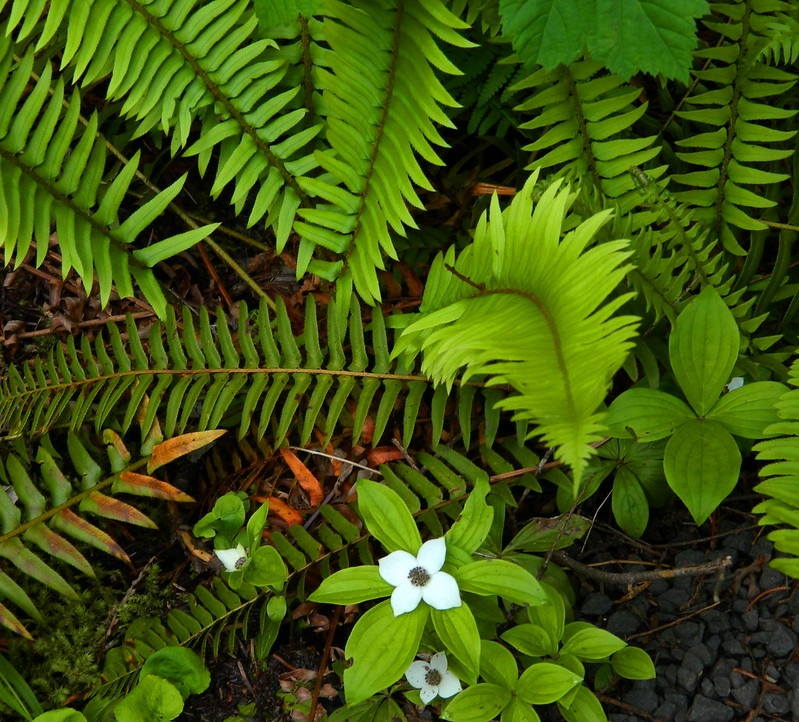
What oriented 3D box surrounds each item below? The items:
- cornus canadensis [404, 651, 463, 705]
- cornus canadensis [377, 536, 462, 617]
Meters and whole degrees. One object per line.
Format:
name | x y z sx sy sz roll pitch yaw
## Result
cornus canadensis | 0.087 0.816 2.054 0.152 0.055 0.135 15 77 2
cornus canadensis | 0.046 0.525 1.876 0.216 0.031 0.189 19 71 18
